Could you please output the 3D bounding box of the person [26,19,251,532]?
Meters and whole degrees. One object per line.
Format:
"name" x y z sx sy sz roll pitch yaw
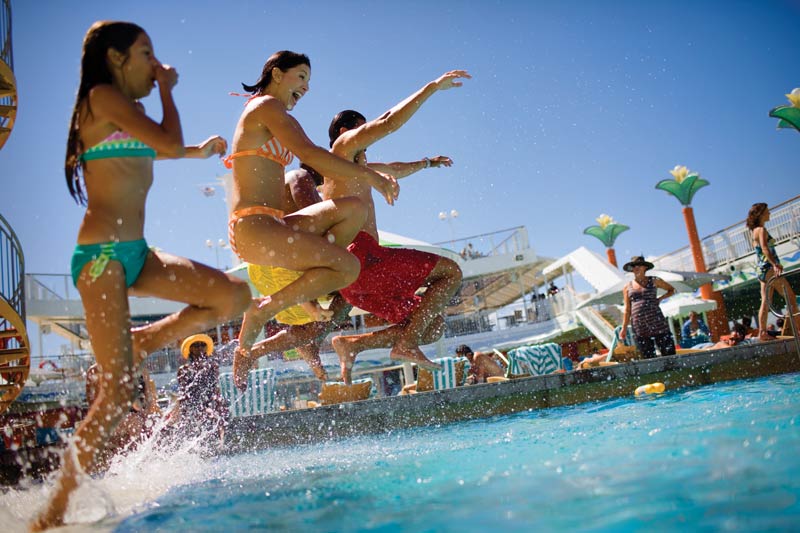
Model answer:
"person" -1.379 -0.106 2.812 1.000 2.527 0.662 2 -19 -44

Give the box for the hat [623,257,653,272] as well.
"hat" 3.118 -0.014 6.919 0.221 0.068 0.229 -2 -21 5
